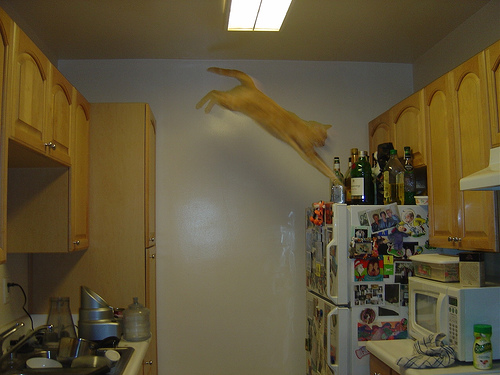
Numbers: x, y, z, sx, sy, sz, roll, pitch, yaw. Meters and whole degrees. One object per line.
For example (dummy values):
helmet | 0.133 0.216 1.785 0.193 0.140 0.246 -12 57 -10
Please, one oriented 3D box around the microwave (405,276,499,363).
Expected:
microwave | 1.158 0.704 2.447 0.349 0.447 0.574 2 -7 -9

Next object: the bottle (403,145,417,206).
bottle | 1.114 -0.083 2.906 0.087 0.410 0.075 -3 -8 18

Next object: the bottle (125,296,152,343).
bottle | -0.707 0.831 2.561 0.168 0.279 0.166 -3 -10 -1

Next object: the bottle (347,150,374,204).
bottle | 0.814 -0.072 2.986 0.174 0.383 0.134 -1 -8 2

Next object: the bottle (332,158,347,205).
bottle | 0.677 -0.049 3.145 0.105 0.371 0.275 -4 -9 19

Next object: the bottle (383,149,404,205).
bottle | 1.025 -0.069 2.942 0.146 0.400 0.099 -4 -9 20

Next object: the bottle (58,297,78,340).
bottle | -1.110 0.796 2.512 0.076 0.236 0.122 -1 -8 1
